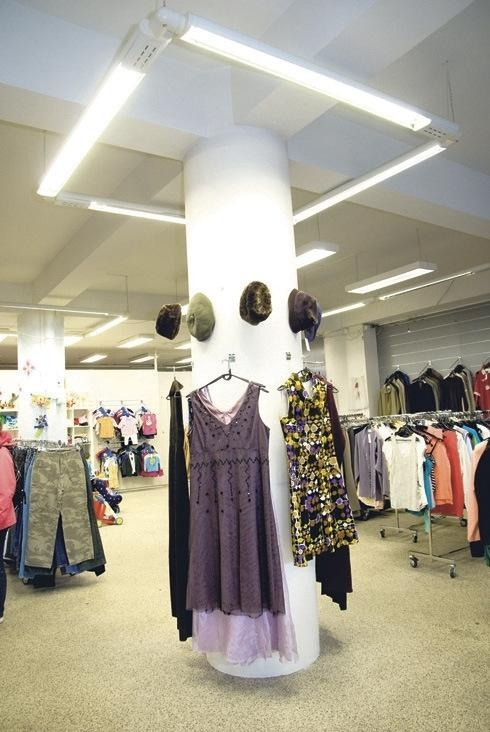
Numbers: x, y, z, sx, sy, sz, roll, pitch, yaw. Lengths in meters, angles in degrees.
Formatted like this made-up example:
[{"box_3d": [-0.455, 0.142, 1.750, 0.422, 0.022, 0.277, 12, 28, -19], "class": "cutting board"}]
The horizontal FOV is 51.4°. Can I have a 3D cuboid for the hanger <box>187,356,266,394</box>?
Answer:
[{"box_3d": [-0.094, 0.046, 2.816, 0.443, 0.225, 0.196, -4, -3, 16], "class": "hanger"}]

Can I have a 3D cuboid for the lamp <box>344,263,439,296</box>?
[{"box_3d": [2.167, -1.286, 7.402, 0.376, 0.160, 1.357, 6, -10, -29], "class": "lamp"}]

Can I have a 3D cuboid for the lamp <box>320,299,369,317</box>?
[{"box_3d": [1.795, -1.057, 9.101, 0.134, 0.071, 0.933, -34, 13, -23], "class": "lamp"}]

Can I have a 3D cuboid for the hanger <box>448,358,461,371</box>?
[{"box_3d": [3.680, -0.031, 8.864, 0.033, 0.120, 0.199, 19, -27, -5], "class": "hanger"}]

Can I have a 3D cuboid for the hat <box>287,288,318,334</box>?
[{"box_3d": [0.333, -0.327, 2.966, 0.160, 0.262, 0.174, -4, -3, 21], "class": "hat"}]

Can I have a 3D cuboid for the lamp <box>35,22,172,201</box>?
[{"box_3d": [-0.786, -1.408, 2.801, 1.094, 0.258, 0.191, -36, -3, 41], "class": "lamp"}]

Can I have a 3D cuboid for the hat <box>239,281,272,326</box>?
[{"box_3d": [0.053, -0.332, 2.700, 0.073, 0.229, 0.165, 6, 8, 34], "class": "hat"}]

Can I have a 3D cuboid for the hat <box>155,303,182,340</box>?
[{"box_3d": [-0.511, -0.298, 3.343, 0.149, 0.244, 0.327, -2, -2, -12], "class": "hat"}]

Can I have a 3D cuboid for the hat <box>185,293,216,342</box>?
[{"box_3d": [-0.258, -0.273, 2.909, 0.171, 0.264, 0.067, -1, 1, 42], "class": "hat"}]
